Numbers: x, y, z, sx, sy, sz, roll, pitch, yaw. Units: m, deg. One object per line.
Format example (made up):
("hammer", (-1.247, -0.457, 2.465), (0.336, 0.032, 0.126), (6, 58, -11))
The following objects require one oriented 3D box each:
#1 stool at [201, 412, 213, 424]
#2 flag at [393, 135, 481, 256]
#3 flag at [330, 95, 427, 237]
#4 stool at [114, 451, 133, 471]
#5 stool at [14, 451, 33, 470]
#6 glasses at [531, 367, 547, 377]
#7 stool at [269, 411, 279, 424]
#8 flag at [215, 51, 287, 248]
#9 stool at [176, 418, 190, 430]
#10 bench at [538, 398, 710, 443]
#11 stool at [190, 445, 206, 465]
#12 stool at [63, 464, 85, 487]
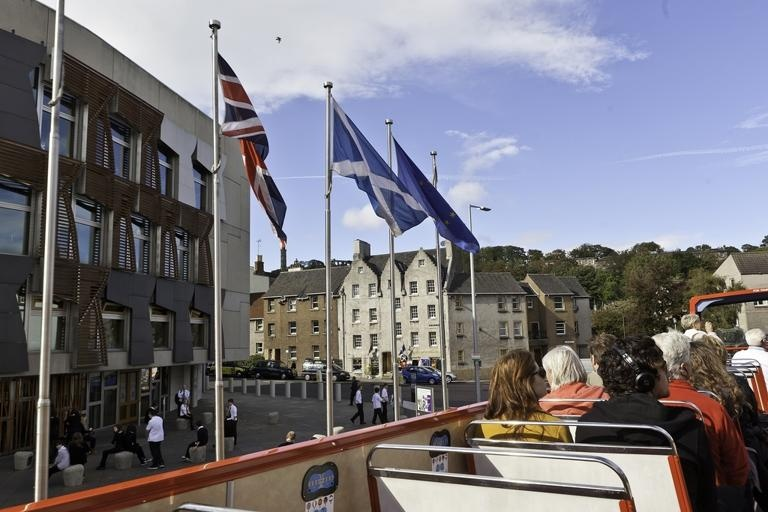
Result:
("stool", (-9.174, 8.351, 35.273), (0.553, 0.549, 0.565), (0, 1, 26))
("flag", (2.453, -1.819, 21.605), (2.679, 3.587, 3.882), (-7, 7, -44))
("flag", (-0.306, -2.575, 20.470), (2.907, 3.821, 0.530), (5, -14, -33))
("stool", (-9.722, 7.617, 25.591), (0.518, 0.619, 0.699), (3, 3, 20))
("stool", (-13.099, 7.413, 24.763), (0.587, 0.556, 0.625), (-1, -15, 5))
("glasses", (2.787, 2.068, 12.183), (0.193, 0.198, 0.064), (21, -33, 48))
("stool", (-5.765, 8.499, 35.873), (0.523, 0.563, 0.569), (0, -13, -2))
("flag", (-4.040, -3.206, 20.793), (1.660, 7.430, 0.874), (11, 38, 26))
("stool", (-9.932, 8.303, 33.793), (0.597, 0.533, 0.591), (-2, -2, 42))
("bench", (4.056, 2.738, 11.274), (0.770, 0.445, 1.317), (15, -6, 11))
("stool", (-7.113, 7.719, 26.578), (0.639, 0.642, 0.650), (-7, -9, 18))
("stool", (-10.565, 7.494, 23.356), (0.615, 0.607, 0.657), (-18, -17, 23))
